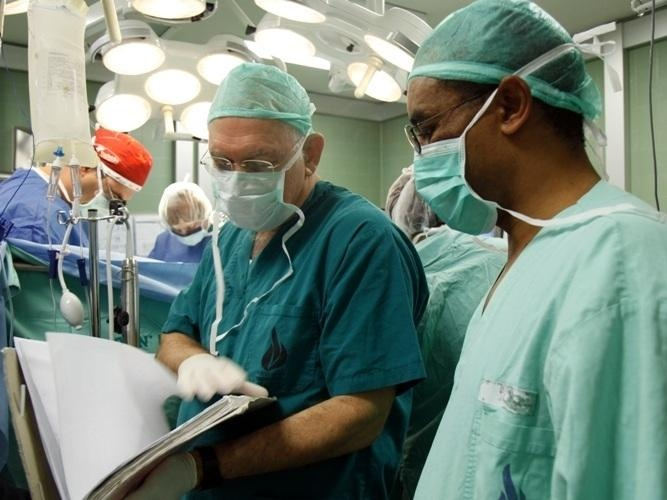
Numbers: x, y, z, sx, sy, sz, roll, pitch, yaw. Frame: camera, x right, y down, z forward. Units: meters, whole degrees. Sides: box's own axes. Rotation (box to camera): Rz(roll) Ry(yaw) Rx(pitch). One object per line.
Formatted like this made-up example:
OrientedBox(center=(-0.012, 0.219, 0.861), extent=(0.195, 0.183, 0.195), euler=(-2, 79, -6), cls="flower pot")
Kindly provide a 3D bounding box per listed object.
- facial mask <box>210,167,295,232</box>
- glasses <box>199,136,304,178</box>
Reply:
OrientedBox(center=(-0.227, -0.174, 1.844), extent=(0.228, 0.202, 0.268), euler=(5, 27, 12), cls="facial mask")
OrientedBox(center=(-0.227, -0.216, 1.748), extent=(0.145, 0.051, 0.159), euler=(5, 4, 21), cls="glasses")
